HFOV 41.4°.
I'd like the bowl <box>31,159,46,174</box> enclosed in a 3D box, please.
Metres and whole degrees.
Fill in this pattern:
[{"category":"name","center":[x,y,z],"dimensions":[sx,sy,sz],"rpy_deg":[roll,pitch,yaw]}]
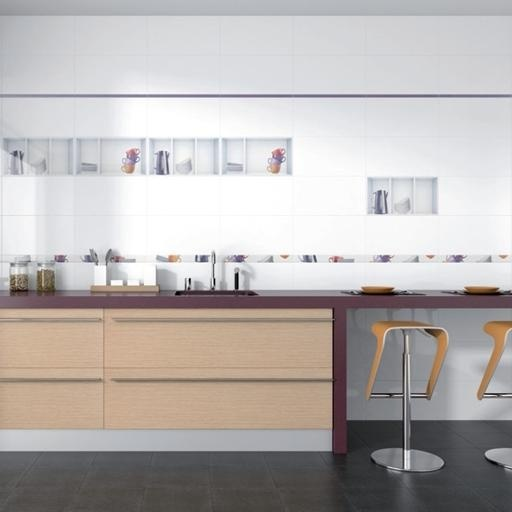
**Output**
[{"category":"bowl","center":[-1.527,-0.621,4.735],"dimensions":[0.104,0.103,0.110],"rpy_deg":[0,-7,0]}]

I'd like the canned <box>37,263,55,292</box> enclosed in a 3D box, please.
[{"category":"canned","center":[-1.433,0.150,4.583],"dimensions":[0.128,0.194,0.294],"rpy_deg":[-2,9,-18]}]

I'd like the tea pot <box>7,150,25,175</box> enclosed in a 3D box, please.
[{"category":"tea pot","center":[-1.684,-0.654,4.732],"dimensions":[0.101,0.167,0.038],"rpy_deg":[-1,9,-13]}]

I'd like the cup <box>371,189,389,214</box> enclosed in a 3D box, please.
[{"category":"cup","center":[0.875,-0.378,4.800],"dimensions":[0.169,0.168,0.113],"rpy_deg":[-1,0,9]}]

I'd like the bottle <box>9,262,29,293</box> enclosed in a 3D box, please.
[{"category":"bottle","center":[-1.627,0.134,4.624],"dimensions":[0.125,0.195,0.169],"rpy_deg":[-2,9,-19]}]

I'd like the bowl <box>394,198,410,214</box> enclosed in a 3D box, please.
[{"category":"bowl","center":[1.036,-0.350,4.763],"dimensions":[0.101,0.084,0.118],"rpy_deg":[-8,2,-14]}]

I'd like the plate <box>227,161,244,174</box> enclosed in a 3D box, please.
[{"category":"plate","center":[-0.162,-0.624,4.784],"dimensions":[0.127,0.074,0.030],"rpy_deg":[0,9,-3]}]

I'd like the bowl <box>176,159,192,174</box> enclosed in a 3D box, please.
[{"category":"bowl","center":[-0.513,-0.630,4.777],"dimensions":[0.096,0.080,0.115],"rpy_deg":[0,8,41]}]

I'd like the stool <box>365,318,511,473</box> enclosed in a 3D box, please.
[{"category":"stool","center":[1.143,0.930,4.389],"dimensions":[0.869,0.677,0.355],"rpy_deg":[0,-3,-2]}]

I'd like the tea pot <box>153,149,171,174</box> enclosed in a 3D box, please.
[{"category":"tea pot","center":[-0.672,-0.662,4.773],"dimensions":[0.109,0.165,0.043],"rpy_deg":[0,9,-7]}]
